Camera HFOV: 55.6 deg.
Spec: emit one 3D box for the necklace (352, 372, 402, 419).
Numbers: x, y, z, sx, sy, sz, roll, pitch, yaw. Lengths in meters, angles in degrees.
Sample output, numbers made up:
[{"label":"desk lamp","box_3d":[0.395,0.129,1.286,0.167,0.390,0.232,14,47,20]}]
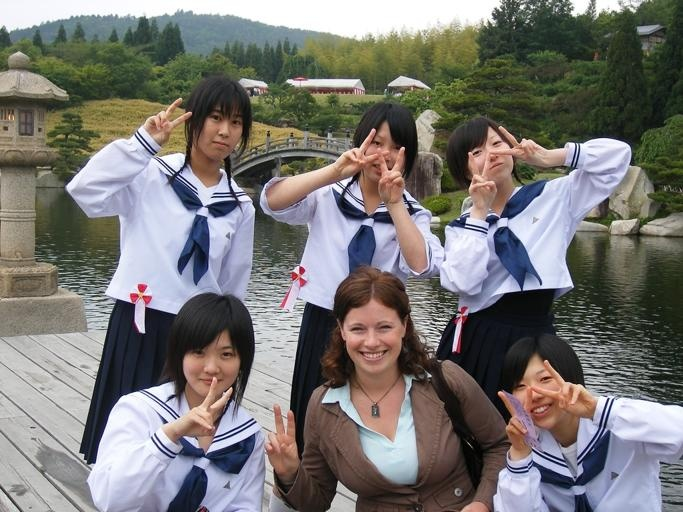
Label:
[{"label":"necklace","box_3d":[0.155,0.601,2.755,0.182,0.196,0.063,-1,-3,10]}]
